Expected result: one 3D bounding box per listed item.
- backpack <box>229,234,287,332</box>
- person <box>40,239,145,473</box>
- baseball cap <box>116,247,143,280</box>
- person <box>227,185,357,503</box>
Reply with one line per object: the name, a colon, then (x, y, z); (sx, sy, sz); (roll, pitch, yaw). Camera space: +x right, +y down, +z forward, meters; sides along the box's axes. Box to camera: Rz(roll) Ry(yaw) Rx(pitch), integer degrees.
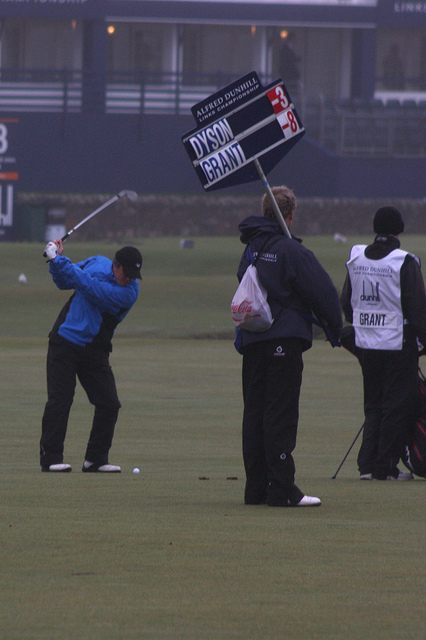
backpack: (0.255, -0.187, 10.643); (0.274, 0.593, 0.314); (1, -15, -5)
person: (-0.760, 0.232, 11.814); (0.594, 1.420, 0.555); (2, 6, -6)
baseball cap: (-0.511, -0.343, 11.652); (0.154, 0.201, 0.210); (3, 7, -3)
person: (0.396, 0.164, 10.647); (0.594, 1.748, 0.411); (4, 6, 8)
